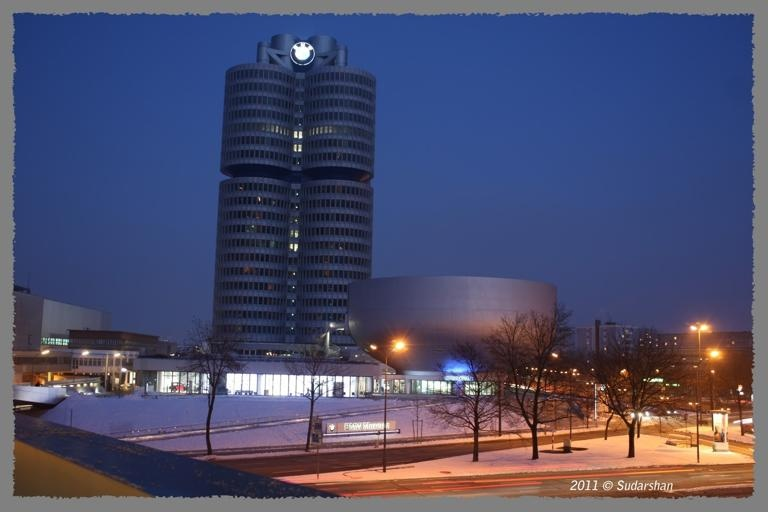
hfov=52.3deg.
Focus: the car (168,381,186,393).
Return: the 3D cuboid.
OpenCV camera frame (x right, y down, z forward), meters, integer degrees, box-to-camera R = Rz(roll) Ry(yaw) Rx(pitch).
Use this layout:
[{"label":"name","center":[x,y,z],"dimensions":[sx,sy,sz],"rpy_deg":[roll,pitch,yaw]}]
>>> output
[{"label":"car","center":[-28.973,18.398,109.755],"dimensions":[2.015,1.170,1.285],"rpy_deg":[-1,-2,-3]}]
